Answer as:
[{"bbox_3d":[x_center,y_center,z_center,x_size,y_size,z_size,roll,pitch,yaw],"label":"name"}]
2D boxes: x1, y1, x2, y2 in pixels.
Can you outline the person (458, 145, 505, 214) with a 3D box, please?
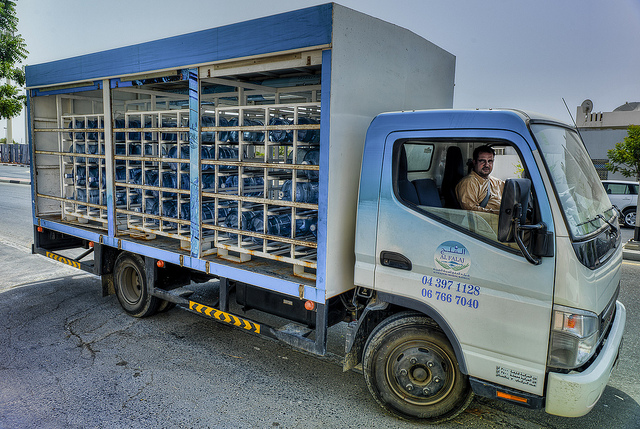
[{"bbox_3d":[1.962,-0.449,5.127,0.563,0.753,0.290,-2,13,-10],"label":"person"}]
